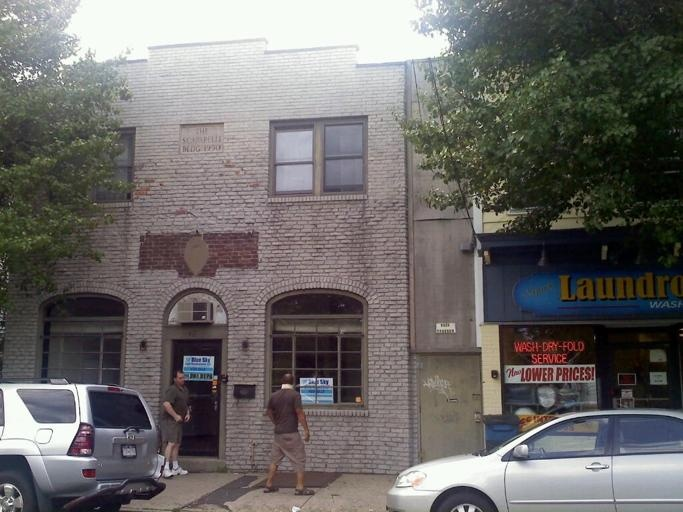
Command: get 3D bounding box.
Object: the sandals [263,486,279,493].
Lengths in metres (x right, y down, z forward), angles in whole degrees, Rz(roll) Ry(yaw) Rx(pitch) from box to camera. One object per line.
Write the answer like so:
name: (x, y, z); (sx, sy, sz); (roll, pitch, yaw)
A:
sandals: (-1.291, 4.288, 16.863); (0.203, 0.087, 0.112); (1, -4, -6)

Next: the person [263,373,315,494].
person: (-0.985, 3.340, 17.224); (0.870, 2.222, 1.286); (0, -12, -6)

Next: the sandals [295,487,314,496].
sandals: (-0.662, 4.272, 16.627); (0.272, 0.117, 0.146); (0, -11, -4)
